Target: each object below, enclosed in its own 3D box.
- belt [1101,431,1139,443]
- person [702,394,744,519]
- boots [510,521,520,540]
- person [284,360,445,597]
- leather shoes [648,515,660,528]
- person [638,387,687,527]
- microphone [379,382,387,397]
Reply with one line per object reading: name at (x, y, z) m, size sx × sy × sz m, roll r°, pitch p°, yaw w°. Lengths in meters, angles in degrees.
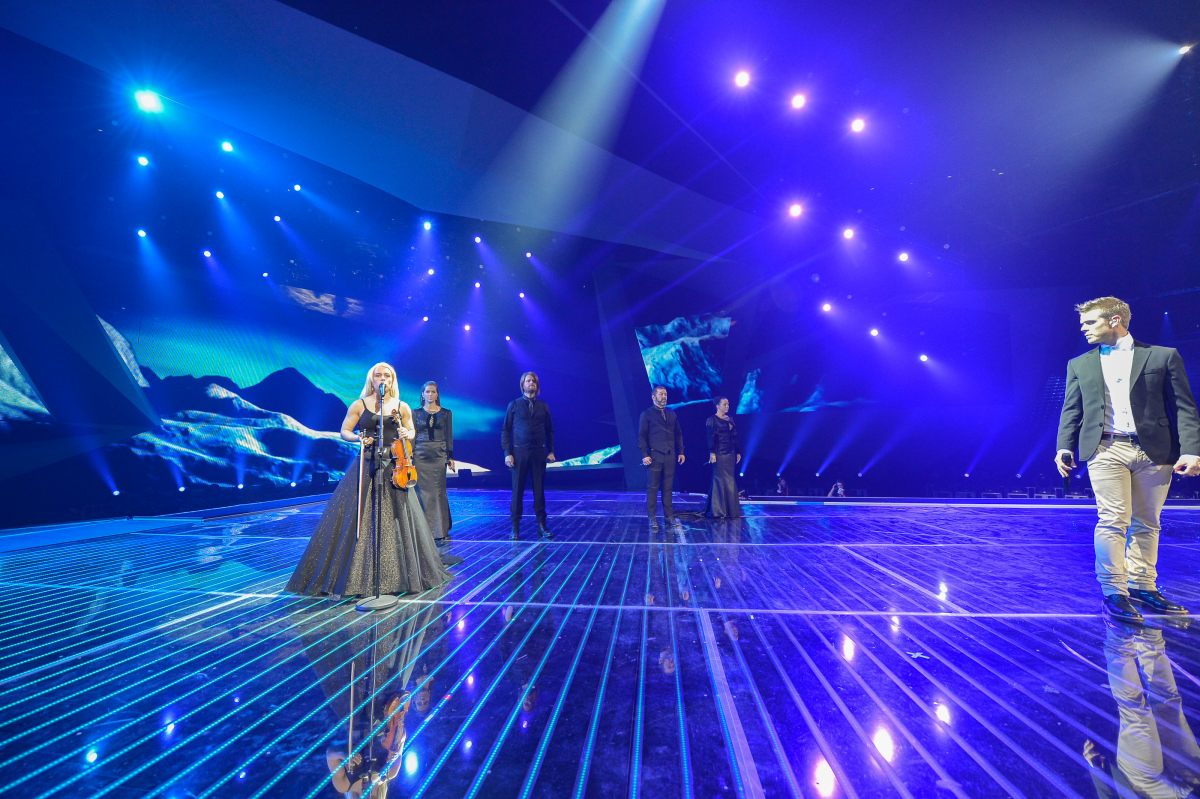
belt at (5.084, 0.369, 6.515) m, size 0.271 × 0.095 × 0.052 m, roll 0°, pitch -5°, yaw 13°
person at (2.019, 0.948, 10.786) m, size 0.553 × 1.979 × 0.805 m, roll 1°, pitch -4°, yaw 11°
boots at (-1.109, 1.778, 8.958) m, size 0.114 × 0.224 × 0.182 m, roll 2°, pitch -5°, yaw -10°
person at (-2.304, 0.848, 6.990) m, size 1.448 × 2.483 × 0.727 m, roll 4°, pitch -5°, yaw -24°
leather shoes at (0.800, 1.815, 9.756) m, size 0.154 × 0.181 × 0.159 m, roll 0°, pitch -13°, yaw -2°
person at (0.933, 0.870, 10.095) m, size 0.614 × 2.038 × 0.507 m, roll 4°, pitch -5°, yaw -31°
microphone at (-2.245, -0.107, 6.926) m, size 0.087 × 0.163 × 0.034 m, roll 4°, pitch -5°, yaw -33°
